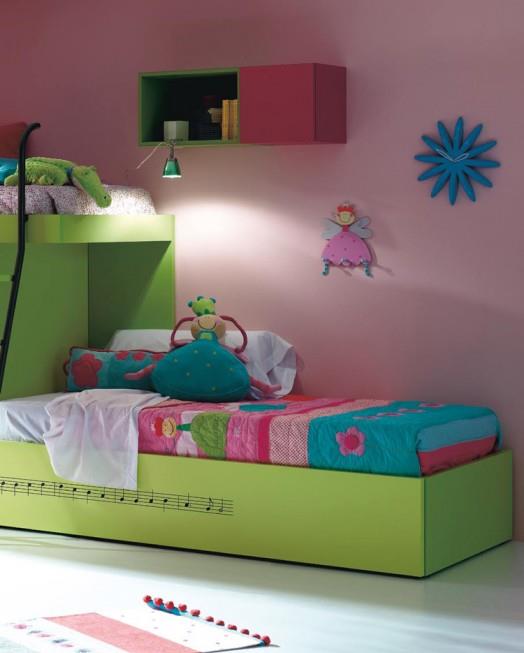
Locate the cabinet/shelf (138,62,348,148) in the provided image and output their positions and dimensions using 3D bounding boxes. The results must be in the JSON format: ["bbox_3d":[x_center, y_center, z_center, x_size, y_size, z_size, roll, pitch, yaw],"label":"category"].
[{"bbox_3d":[-0.102,-1.105,3.220,1.146,0.367,0.362,8,14,26],"label":"cabinet/shelf"}]

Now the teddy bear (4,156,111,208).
[{"bbox_3d":[-0.978,-0.713,2.983,0.406,0.135,0.277,9,16,14],"label":"teddy bear"}]

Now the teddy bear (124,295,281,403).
[{"bbox_3d":[-0.293,0.100,3.088,0.576,0.517,0.455,-2,-4,35],"label":"teddy bear"}]

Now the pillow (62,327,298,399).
[{"bbox_3d":[-0.320,0.112,3.342,0.848,0.219,0.514,2,0,19],"label":"pillow"}]
